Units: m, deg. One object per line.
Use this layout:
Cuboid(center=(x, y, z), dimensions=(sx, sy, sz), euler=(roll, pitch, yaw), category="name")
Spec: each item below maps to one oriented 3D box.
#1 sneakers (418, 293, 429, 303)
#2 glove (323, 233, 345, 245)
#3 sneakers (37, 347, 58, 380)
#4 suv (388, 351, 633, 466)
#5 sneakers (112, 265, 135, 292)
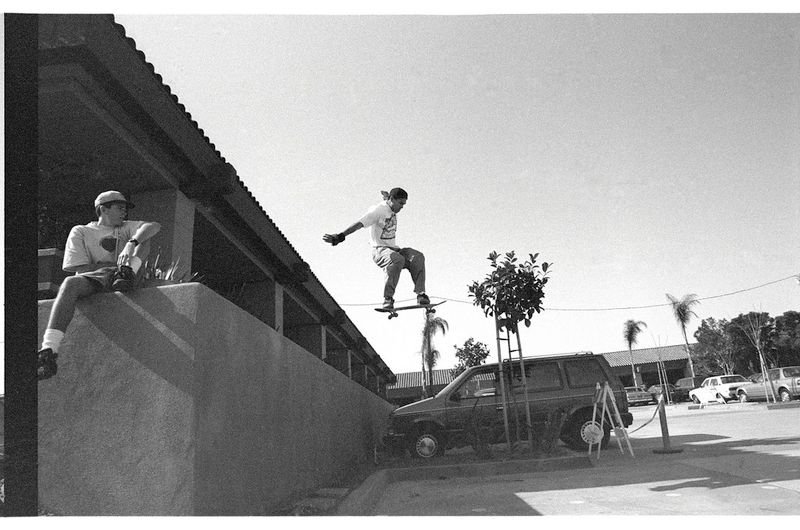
Cuboid(center=(0.355, 0.502, 8.173), dimensions=(0.166, 0.125, 0.090), euler=(8, -18, 6), category="sneakers")
Cuboid(center=(-0.948, -0.339, 7.843), dimensions=(0.213, 0.112, 0.226), euler=(-2, 24, 6), category="glove")
Cuboid(center=(-3.963, 1.095, 6.137), dimensions=(0.244, 0.360, 0.131), euler=(3, 12, -4), category="sneakers")
Cuboid(center=(2.087, 3.223, 11.343), dimensions=(4.259, 1.911, 2.220), euler=(-4, -22, 7), category="suv")
Cuboid(center=(-3.220, 0.175, 6.273), dimensions=(0.246, 0.306, 0.195), euler=(-2, -16, -21), category="sneakers")
